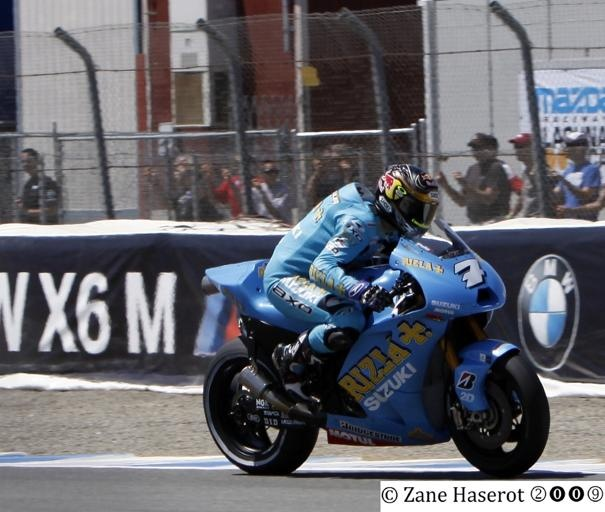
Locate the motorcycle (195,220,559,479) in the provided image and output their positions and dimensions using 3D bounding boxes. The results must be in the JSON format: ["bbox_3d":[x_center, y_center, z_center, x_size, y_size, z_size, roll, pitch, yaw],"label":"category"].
[{"bbox_3d":[0.481,0.721,8.274,2.489,1.728,0.515,2,12,29],"label":"motorcycle"}]

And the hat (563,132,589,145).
[{"bbox_3d":[2.397,-1.024,10.483,0.202,0.115,0.035,-1,10,7],"label":"hat"}]

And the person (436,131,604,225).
[{"bbox_3d":[1.649,-0.692,10.674,0.882,0.802,0.179,-2,10,6],"label":"person"}]

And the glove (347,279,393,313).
[{"bbox_3d":[0.446,0.273,7.910,0.160,0.113,0.266,37,-12,-20],"label":"glove"}]
